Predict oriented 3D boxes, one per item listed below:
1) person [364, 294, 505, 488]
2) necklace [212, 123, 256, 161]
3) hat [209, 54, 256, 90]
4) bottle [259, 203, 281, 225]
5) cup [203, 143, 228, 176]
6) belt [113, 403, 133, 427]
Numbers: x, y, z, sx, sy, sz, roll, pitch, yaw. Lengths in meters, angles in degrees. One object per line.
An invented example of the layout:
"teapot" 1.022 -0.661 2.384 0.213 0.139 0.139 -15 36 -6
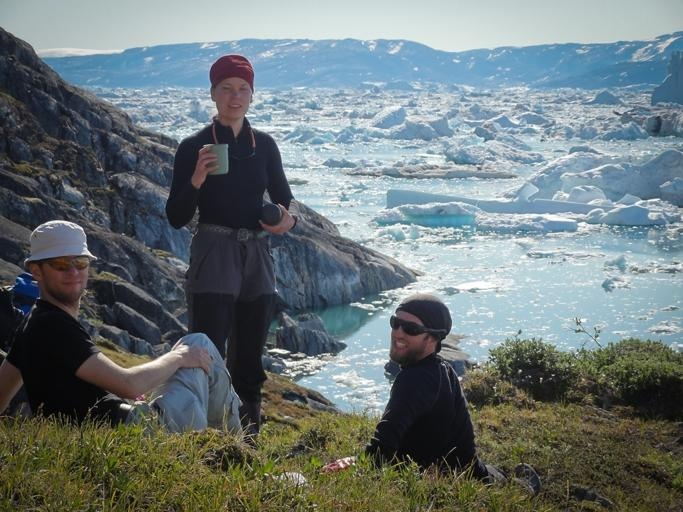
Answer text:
"person" 0.790 1.042 5.284 0.984 1.344 0.787 -1 14 1
"necklace" -0.860 -0.993 5.792 0.295 0.330 0.089 -5 -28 -14
"hat" -0.919 -1.567 5.546 0.371 0.248 0.334 6 44 -3
"bottle" -0.574 -0.357 5.675 0.197 0.176 0.186 20 8 3
"cup" -1.009 -0.794 5.387 0.214 0.235 0.134 -7 15 -25
"belt" -1.569 1.092 4.595 0.121 0.195 0.135 -2 7 -40
